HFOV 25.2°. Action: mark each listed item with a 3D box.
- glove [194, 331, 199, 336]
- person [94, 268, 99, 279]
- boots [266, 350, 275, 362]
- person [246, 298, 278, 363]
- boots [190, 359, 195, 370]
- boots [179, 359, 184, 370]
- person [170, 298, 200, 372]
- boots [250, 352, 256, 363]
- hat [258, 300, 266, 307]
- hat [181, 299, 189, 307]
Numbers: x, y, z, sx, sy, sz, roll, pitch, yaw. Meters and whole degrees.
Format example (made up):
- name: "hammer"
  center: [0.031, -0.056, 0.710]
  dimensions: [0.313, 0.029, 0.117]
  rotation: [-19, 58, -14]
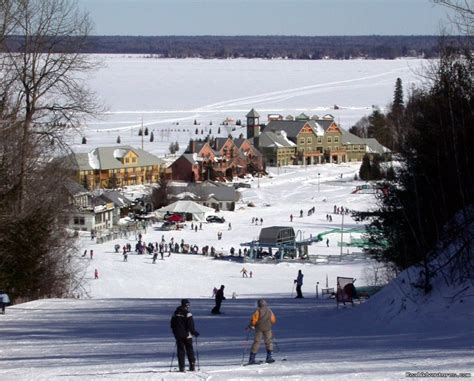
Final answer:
- name: "glove"
  center: [-1.527, 5.232, 38.709]
  dimensions: [0.048, 0.238, 0.194]
  rotation: [-8, -8, 28]
- name: "person"
  center: [-8.941, 5.280, 67.482]
  dimensions: [0.291, 0.898, 0.280]
  rotation: [1, 35, -8]
- name: "boots"
  center: [1.207, 6.118, 39.400]
  dimensions: [0.203, 0.524, 0.448]
  rotation: [2, 5, 18]
- name: "person"
  center: [0.905, 5.206, 39.371]
  dimensions: [0.982, 2.338, 0.525]
  rotation: [-2, -3, -4]
- name: "boots"
  center: [-1.660, 6.273, 38.799]
  dimensions: [0.221, 0.505, 0.430]
  rotation: [-2, -3, -4]
- name: "boots"
  center: [-2.029, 6.346, 38.624]
  dimensions: [0.218, 0.376, 0.390]
  rotation: [-2, -3, -4]
- name: "person"
  center: [-1.934, 5.274, 38.869]
  dimensions: [0.922, 2.584, 0.914]
  rotation: [-2, -3, -2]
- name: "boots"
  center: [0.532, 6.173, 39.304]
  dimensions: [0.235, 0.394, 0.206]
  rotation: [-2, -3, -6]
- name: "hat"
  center: [0.890, 4.138, 39.456]
  dimensions: [0.187, 0.313, 0.283]
  rotation: [-3, 23, -10]
- name: "hat"
  center: [-1.922, 4.129, 39.240]
  dimensions: [0.249, 0.335, 0.261]
  rotation: [0, 6, -18]
